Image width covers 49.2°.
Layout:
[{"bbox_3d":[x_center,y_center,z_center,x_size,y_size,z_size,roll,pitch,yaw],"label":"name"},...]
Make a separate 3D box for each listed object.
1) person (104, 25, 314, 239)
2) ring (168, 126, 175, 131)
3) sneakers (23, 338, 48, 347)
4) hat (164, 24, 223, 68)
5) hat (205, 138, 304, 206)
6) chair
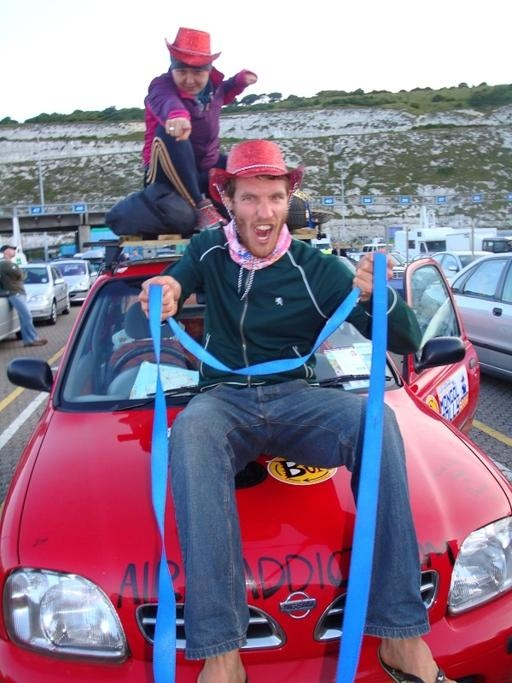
[{"bbox_3d":[-0.552,-1.313,3.555,0.986,1.207,1.077,14,30,24],"label":"person"},{"bbox_3d":[-0.500,-1.260,3.307,0.041,0.037,0.004,5,15,27],"label":"ring"},{"bbox_3d":[-4.564,0.034,11.554,0.565,0.207,0.180,3,6,-14],"label":"sneakers"},{"bbox_3d":[-0.385,-1.762,3.382,0.295,0.191,0.238,-3,13,-3],"label":"hat"},{"bbox_3d":[-0.012,-0.694,2.205,0.284,0.113,0.312,-1,-3,-5],"label":"hat"},{"bbox_3d":[-0.492,0.038,2.580,0.358,0.224,0.523,-1,5,-10],"label":"chair"}]
